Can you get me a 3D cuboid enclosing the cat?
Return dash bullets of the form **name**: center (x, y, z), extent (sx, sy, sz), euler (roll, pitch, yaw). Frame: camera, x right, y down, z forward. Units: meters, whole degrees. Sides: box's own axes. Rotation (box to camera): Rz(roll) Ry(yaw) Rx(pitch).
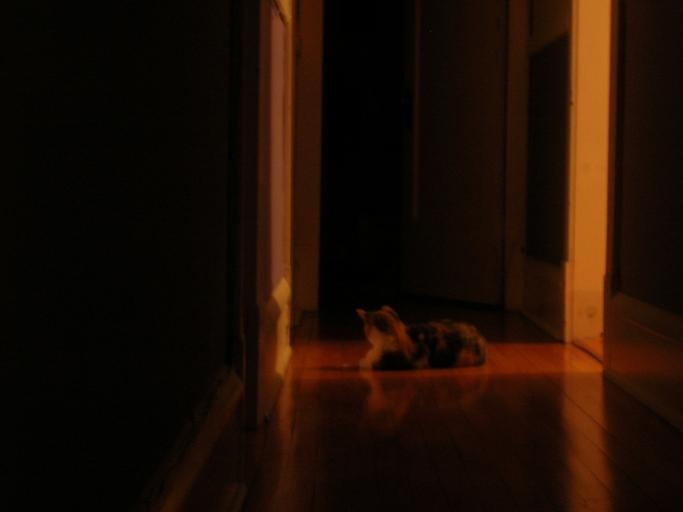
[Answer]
- **cat**: center (0.388, 0.384, 2.724), extent (0.453, 0.291, 0.305), euler (0, -5, -3)
